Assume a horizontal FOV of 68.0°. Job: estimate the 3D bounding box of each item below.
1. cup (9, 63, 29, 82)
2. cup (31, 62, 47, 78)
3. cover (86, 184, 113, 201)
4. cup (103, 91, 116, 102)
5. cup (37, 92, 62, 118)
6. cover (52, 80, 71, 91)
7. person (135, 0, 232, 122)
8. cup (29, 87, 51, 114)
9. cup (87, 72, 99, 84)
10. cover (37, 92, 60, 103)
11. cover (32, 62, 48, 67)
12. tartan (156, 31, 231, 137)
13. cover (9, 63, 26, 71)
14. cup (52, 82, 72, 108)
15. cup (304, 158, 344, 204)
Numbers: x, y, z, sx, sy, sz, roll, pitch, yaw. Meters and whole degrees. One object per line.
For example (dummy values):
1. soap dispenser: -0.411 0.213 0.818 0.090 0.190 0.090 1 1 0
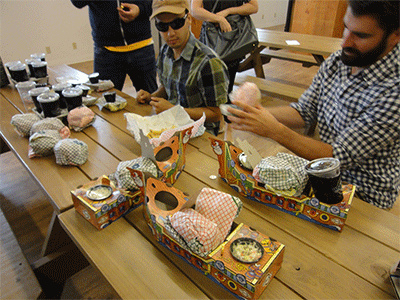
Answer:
1. cup: -1.520 -0.655 2.499 0.130 0.123 0.244 -23 40 -26
2. cup: -1.325 -0.678 2.505 0.122 0.125 0.129 3 33 -2
3. cover: -0.425 0.177 1.260 0.109 0.016 0.100 -10 36 -9
4. cup: -0.635 -0.378 2.101 0.072 0.065 0.057 -3 35 6
5. cup: -0.915 -0.287 1.880 0.144 0.159 0.147 4 40 -4
6. cover: -0.996 -0.471 2.145 0.141 0.052 0.185 -19 28 -22
7. person: -0.107 -0.620 2.057 0.341 0.763 0.628 -31 43 -34
8. cup: -1.030 -0.323 1.915 0.118 0.152 0.126 6 43 -5
9. cup: -0.865 -0.606 2.444 0.073 0.072 0.187 -7 36 -5
10. cover: -0.946 -0.333 1.854 0.122 0.030 0.125 0 36 4
11. cover: -1.345 -0.719 2.481 0.109 0.029 0.090 -19 38 -20
12. tartan: -0.071 -0.565 2.131 0.625 0.522 0.265 26 44 35
13. cover: -1.530 -0.693 2.482 0.104 0.039 0.103 0 12 44
14. cup: -0.945 -0.374 2.098 0.158 0.155 0.164 3 36 -2
15. cup: 0.503 0.129 1.194 0.132 0.174 0.123 -18 18 6
